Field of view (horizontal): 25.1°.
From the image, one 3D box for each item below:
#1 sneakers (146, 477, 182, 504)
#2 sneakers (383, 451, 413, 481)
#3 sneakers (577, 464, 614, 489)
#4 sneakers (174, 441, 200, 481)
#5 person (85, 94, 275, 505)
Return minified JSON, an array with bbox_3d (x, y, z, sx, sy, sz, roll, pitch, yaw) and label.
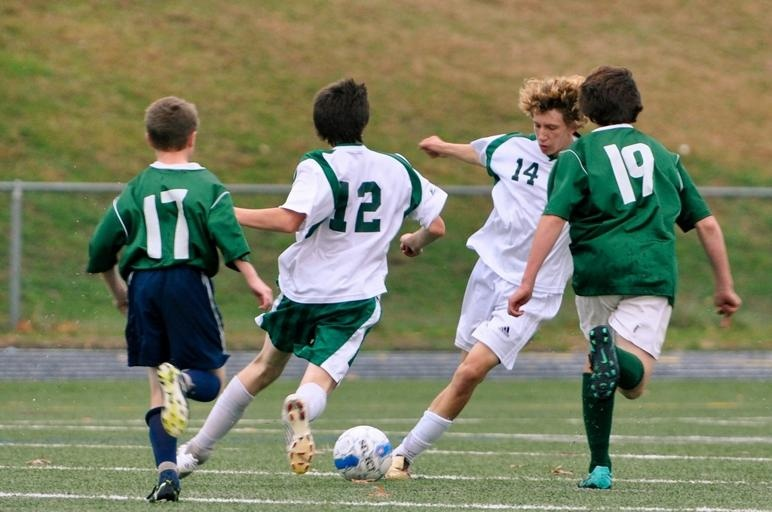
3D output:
[{"bbox_3d":[-1.919,2.069,15.229,0.136,0.157,0.366,35,-19,-17],"label":"sneakers"},{"bbox_3d":[0.154,1.947,16.031,0.204,0.240,0.101,20,-11,19],"label":"sneakers"},{"bbox_3d":[1.967,2.018,15.809,0.185,0.121,0.307,1,0,-2],"label":"sneakers"},{"bbox_3d":[-1.771,1.885,15.831,0.153,0.279,0.222,-3,4,-4],"label":"sneakers"},{"bbox_3d":[-1.864,0.533,15.573,0.971,2.711,1.087,-9,14,-43],"label":"person"}]
